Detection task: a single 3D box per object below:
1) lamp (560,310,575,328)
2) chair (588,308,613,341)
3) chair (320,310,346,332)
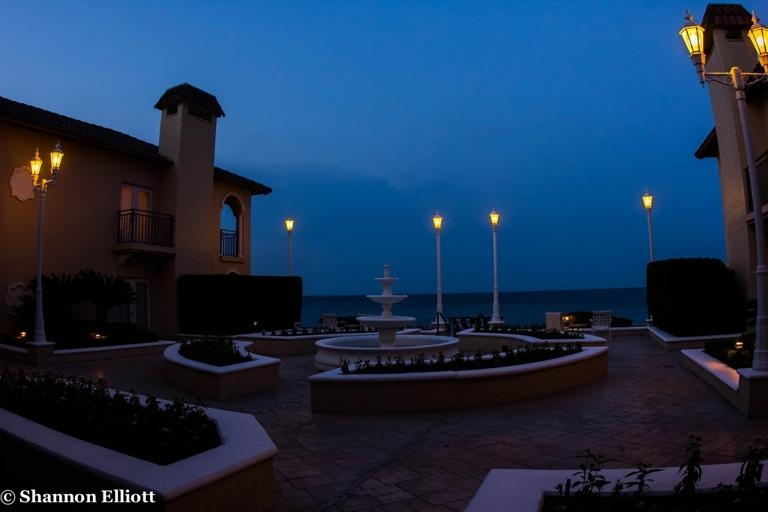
[{"bbox_3d":[8.705,2.953,27.595,0.790,0.518,0.775,-1,2,-6],"label":"lamp"},{"bbox_3d":[8.898,2.811,24.025,0.805,1.174,2.006,-5,-4,18],"label":"chair"},{"bbox_3d":[-2.290,3.070,27.289,0.732,0.768,1.251,-1,0,-4],"label":"chair"}]
